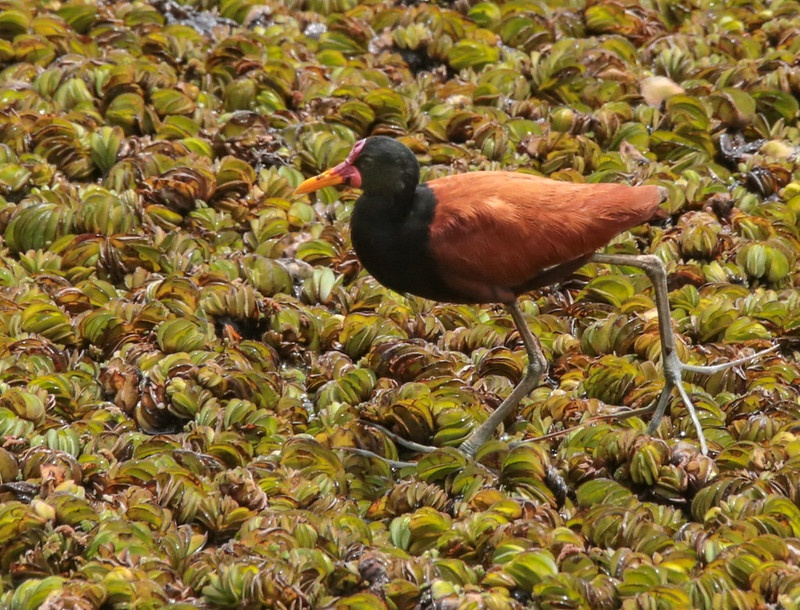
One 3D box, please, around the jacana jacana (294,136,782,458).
[{"bbox_3d":[0.985,-0.132,7.218,3.517,1.958,1.169,-4,9,-8],"label":"jacana jacana"}]
